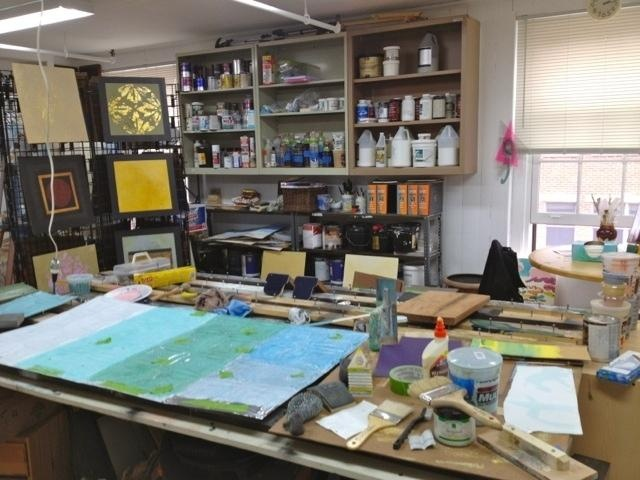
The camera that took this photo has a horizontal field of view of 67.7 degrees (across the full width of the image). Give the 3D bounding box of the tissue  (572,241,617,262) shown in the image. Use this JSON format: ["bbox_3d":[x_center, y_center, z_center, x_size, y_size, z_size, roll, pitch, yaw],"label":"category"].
[{"bbox_3d":[2.008,0.096,3.557,0.257,0.105,0.183,1,3,33],"label":"tissue "}]

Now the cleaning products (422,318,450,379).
[{"bbox_3d":[0.419,0.374,1.744,0.087,0.212,0.182,0,10,13],"label":"cleaning products"}]

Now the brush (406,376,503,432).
[{"bbox_3d":[0.389,0.486,1.475,0.136,0.033,0.252,-2,8,-32],"label":"brush"}]

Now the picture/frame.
[{"bbox_3d":[-1.780,-0.531,4.141,0.661,1.700,1.508,7,14,41],"label":"picture/frame"}]

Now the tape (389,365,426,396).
[{"bbox_3d":[0.303,0.497,1.714,0.100,0.036,0.097,0,3,27],"label":"tape"}]

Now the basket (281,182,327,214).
[{"bbox_3d":[-0.161,-0.422,4.800,0.389,0.217,0.304,2,5,31],"label":"basket"}]

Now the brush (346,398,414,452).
[{"bbox_3d":[0.185,0.565,1.507,0.088,0.015,0.232,4,14,29],"label":"brush"}]

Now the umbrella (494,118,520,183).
[{"bbox_3d":[1.680,-0.775,4.305,0.179,0.542,0.094,-5,11,-17],"label":"umbrella"}]

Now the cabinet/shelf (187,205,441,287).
[{"bbox_3d":[-0.083,0.068,4.841,2.454,0.734,0.665,3,11,26],"label":"cabinet/shelf"}]

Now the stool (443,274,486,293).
[{"bbox_3d":[1.266,0.374,4.203,0.302,0.190,0.286,0,9,9],"label":"stool"}]

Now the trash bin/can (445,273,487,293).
[{"bbox_3d":[1.278,0.373,4.196,0.298,0.192,0.290,3,8,29],"label":"trash bin/can"}]

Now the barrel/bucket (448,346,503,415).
[{"bbox_3d":[0.487,0.427,1.555,0.210,0.197,0.199,-2,11,0],"label":"barrel/bucket"}]

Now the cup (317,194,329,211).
[{"bbox_3d":[0.030,-0.367,4.723,0.156,0.143,0.135,-4,4,-42],"label":"cup"}]
